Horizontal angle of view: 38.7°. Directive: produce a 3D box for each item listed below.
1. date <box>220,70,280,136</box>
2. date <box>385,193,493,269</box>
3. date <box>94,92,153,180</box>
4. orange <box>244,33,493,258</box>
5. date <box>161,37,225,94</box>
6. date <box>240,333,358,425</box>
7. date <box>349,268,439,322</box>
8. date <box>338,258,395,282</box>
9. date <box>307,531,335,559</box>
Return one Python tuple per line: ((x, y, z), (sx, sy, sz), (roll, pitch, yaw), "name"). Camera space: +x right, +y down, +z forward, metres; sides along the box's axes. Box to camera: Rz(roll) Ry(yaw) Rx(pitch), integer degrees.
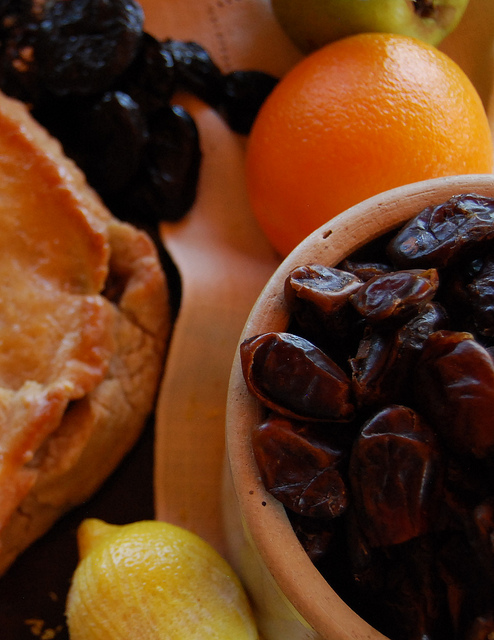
((0.000, -0.245, 0.812), (0.062, 0.030, 0.064), (3, 93, -12), "date")
((0.162, -0.071, 0.569), (0.096, 0.037, 0.053), (-22, 53, -14), "date")
((-0.128, -0.187, 0.731), (0.039, 0.073, 0.061), (-9, 12, 10), "date")
((0.123, -0.179, 0.737), (0.246, 0.189, 0.158), (-5, 53, 1), "orange")
((-0.064, -0.289, 0.785), (0.067, 0.059, 0.062), (-24, 54, -14), "date")
((0.040, 0.045, 0.537), (0.090, 0.028, 0.054), (33, 88, 9), "date")
((0.112, -0.020, 0.519), (0.064, 0.024, 0.039), (-15, 52, -8), "date")
((0.099, -0.042, 0.579), (0.035, 0.011, 0.023), (-1, 25, -11), "date")
((0.056, 0.173, 0.538), (0.021, 0.006, 0.014), (-27, 78, -8), "date")
